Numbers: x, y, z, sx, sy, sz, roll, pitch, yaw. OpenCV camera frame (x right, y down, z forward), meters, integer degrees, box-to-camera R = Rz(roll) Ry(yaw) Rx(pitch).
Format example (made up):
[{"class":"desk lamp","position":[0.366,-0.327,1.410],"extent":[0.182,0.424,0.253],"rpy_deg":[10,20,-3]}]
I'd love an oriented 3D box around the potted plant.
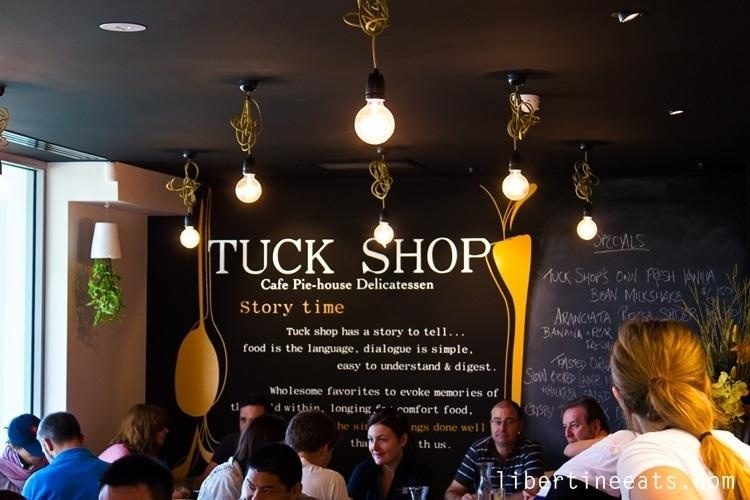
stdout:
[{"class":"potted plant","position":[-2.618,0.193,6.532],"extent":[0.315,1.023,0.647],"rpy_deg":[4,-13,-23]}]
